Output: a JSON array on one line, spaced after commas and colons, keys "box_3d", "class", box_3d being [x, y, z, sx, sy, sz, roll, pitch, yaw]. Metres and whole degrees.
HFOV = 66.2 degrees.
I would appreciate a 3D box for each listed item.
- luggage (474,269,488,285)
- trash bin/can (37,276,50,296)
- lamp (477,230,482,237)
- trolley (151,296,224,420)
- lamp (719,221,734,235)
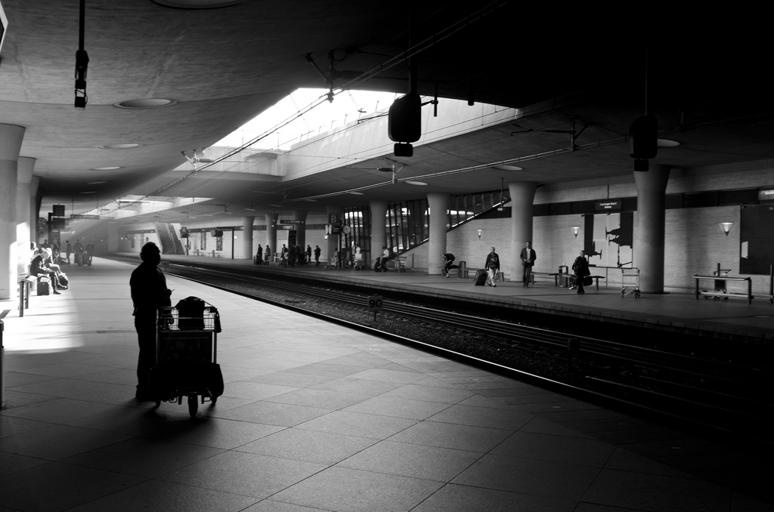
[{"box_3d": [4.780, 1.137, 30.282, 0.356, 0.770, 0.652, 2, 1, 45], "class": "luggage"}, {"box_3d": [-13.022, 1.152, 22.399, 0.402, 0.734, 0.377, 1, 1, -28], "class": "trash bin/can"}, {"box_3d": [5.995, -1.399, 38.144, 0.459, 0.468, 0.410, 4, 11, 9], "class": "lamp"}, {"box_3d": [-3.063, 1.528, 9.019, 1.400, 1.512, 1.090, 2, -4, -7], "class": "trolley"}, {"box_3d": [14.287, -1.128, 24.843, 0.682, 0.461, 0.610, 3, 6, 7], "class": "lamp"}]
